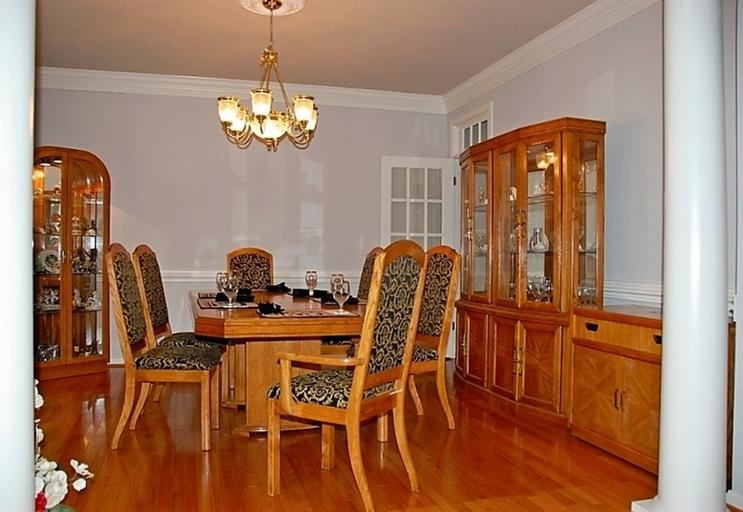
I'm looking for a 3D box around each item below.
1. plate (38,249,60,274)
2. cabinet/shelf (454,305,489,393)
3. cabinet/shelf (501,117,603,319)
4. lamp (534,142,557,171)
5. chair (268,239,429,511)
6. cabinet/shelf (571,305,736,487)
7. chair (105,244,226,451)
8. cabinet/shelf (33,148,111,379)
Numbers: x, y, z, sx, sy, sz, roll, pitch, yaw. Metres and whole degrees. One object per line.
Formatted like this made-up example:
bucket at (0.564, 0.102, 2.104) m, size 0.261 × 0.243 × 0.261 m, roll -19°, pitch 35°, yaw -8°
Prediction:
plate at (-3.302, 0.058, 5.529) m, size 0.212 × 0.232 × 0.050 m, roll 14°, pitch -9°, yaw -22°
cabinet/shelf at (0.943, 0.874, 5.042) m, size 0.291 × 0.783 × 0.796 m, roll 1°, pitch -3°, yaw -5°
cabinet/shelf at (1.460, -0.331, 4.456) m, size 0.849 × 1.533 × 0.493 m, roll 2°, pitch 4°, yaw 18°
lamp at (1.411, -0.797, 4.389) m, size 0.136 × 0.196 × 0.163 m, roll 2°, pitch 1°, yaw -30°
chair at (-0.125, 0.645, 3.230) m, size 0.843 × 1.502 × 0.698 m, roll 2°, pitch 4°, yaw 21°
cabinet/shelf at (1.874, 0.769, 4.168) m, size 0.758 × 1.488 × 1.486 m, roll 1°, pitch 0°, yaw -19°
chair at (-1.494, 0.613, 3.923) m, size 0.732 × 1.405 × 0.917 m, roll -1°, pitch 4°, yaw -18°
cabinet/shelf at (-3.091, 0.054, 5.589) m, size 0.681 × 2.318 × 0.356 m, roll -2°, pitch 5°, yaw -31°
